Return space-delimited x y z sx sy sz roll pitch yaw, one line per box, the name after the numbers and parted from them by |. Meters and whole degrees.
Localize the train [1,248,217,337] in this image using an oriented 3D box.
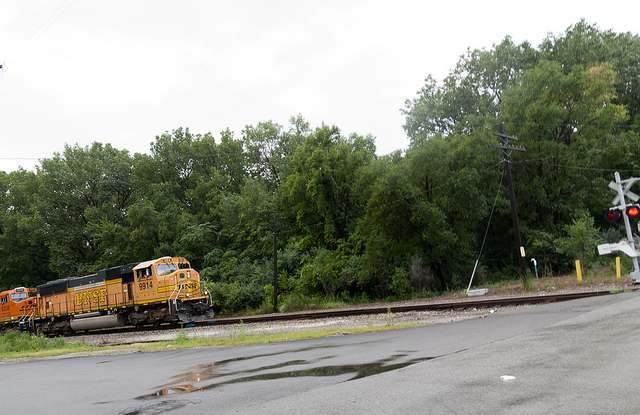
-19.476 7.534 40.857 22.296 5.439 9.735 -9 -5 27 | train

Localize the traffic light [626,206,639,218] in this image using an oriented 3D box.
18.420 0.215 30.690 0.466 0.687 0.813 -5 -4 3 | traffic light

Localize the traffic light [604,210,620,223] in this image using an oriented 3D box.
17.530 0.475 31.254 0.772 0.755 0.950 -8 -5 30 | traffic light
